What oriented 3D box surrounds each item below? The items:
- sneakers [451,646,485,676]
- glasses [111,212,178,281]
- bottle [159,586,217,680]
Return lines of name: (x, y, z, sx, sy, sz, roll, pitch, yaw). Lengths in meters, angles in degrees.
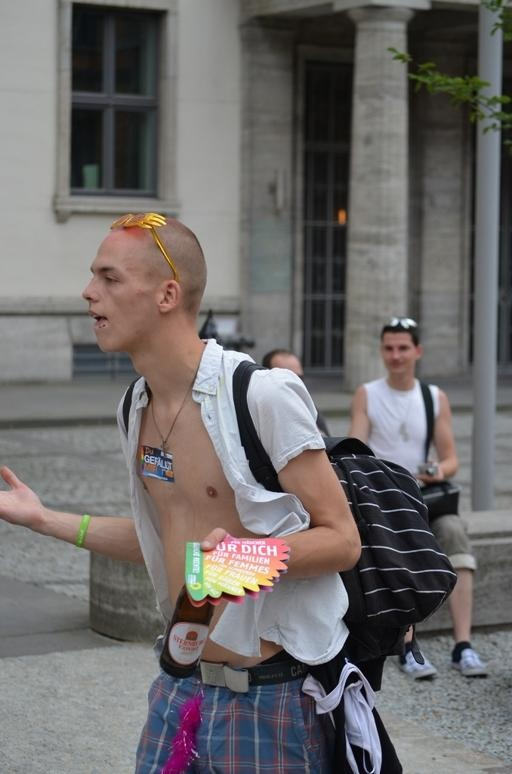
sneakers: (0.928, 1.186, 4.429, 0.072, 0.072, 0.168, -5, 12, -23)
glasses: (-0.176, -0.234, 1.758, 0.117, 0.120, 0.058, 4, 23, 40)
bottle: (-0.113, 0.401, 1.643, 0.072, 0.189, 0.153, 9, 5, -3)
